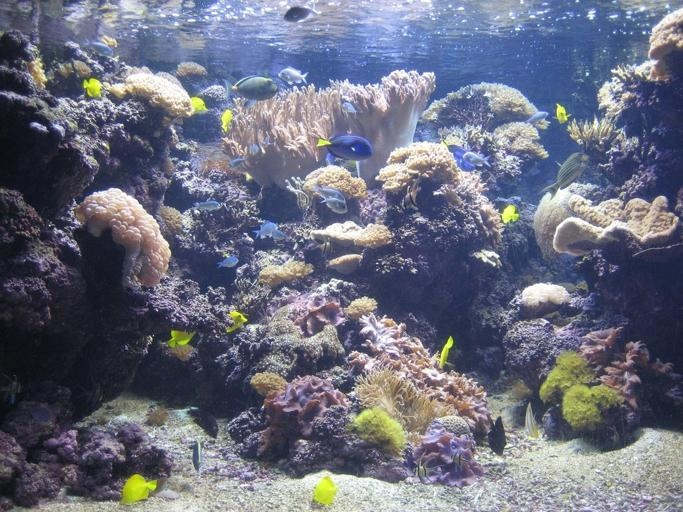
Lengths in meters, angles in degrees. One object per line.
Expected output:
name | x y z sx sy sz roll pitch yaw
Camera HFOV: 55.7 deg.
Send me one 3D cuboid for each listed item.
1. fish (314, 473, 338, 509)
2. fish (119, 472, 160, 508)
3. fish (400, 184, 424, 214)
fish | -0.258 3.681 10.320 0.404 0.482 0.291 5 18 5
fish | -3.140 3.581 10.025 0.581 0.485 0.204 1 18 -8
fish | 1.484 -1.233 13.538 0.416 0.594 0.183 2 18 -6
